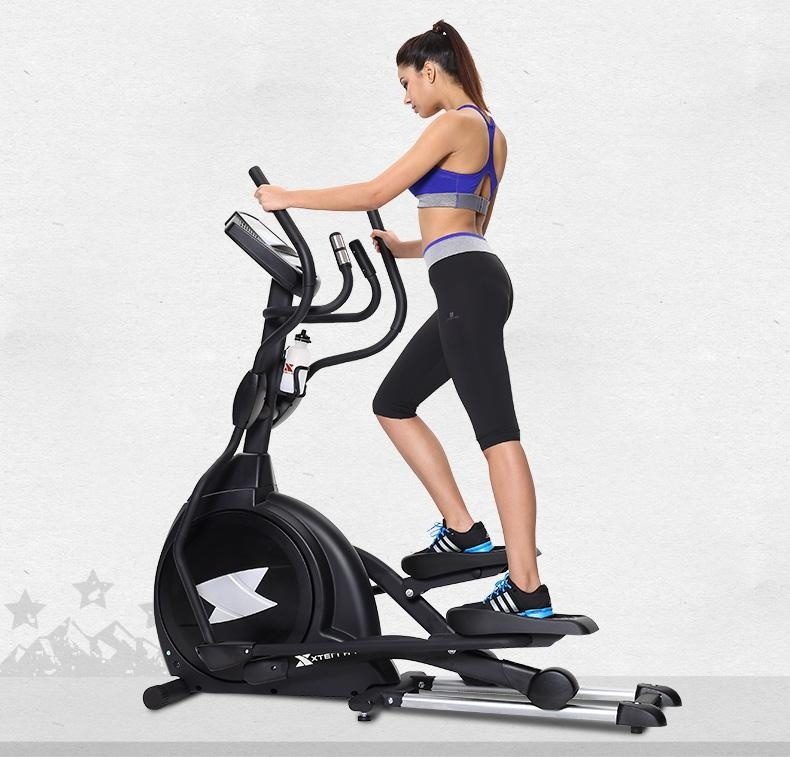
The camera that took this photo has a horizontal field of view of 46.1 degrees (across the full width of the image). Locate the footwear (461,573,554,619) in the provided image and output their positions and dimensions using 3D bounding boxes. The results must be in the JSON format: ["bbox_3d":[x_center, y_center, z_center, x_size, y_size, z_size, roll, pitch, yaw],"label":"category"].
[{"bbox_3d":[0.263,0.597,2.539,0.285,0.077,0.089,0,-6,27],"label":"footwear"}]

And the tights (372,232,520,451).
[{"bbox_3d":[0.236,-0.100,2.626,0.369,0.580,0.505,-11,30,-27],"label":"tights"}]
